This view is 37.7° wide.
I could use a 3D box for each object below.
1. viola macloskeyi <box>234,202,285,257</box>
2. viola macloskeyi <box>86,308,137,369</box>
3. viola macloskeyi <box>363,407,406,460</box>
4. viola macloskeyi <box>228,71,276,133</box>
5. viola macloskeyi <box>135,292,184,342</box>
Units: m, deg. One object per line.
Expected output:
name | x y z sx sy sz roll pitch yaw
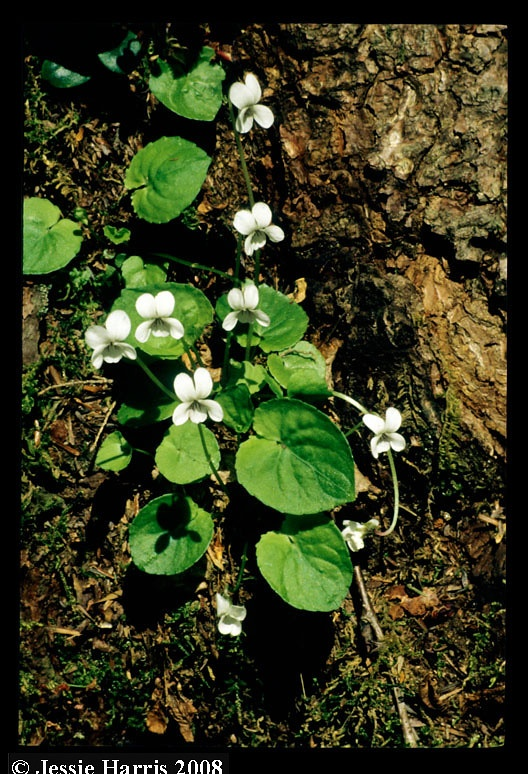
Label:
viola macloskeyi | -0.020 -0.510 2.534 0.189 0.070 0.179 -19 -51 8
viola macloskeyi | -0.469 -0.147 2.363 0.121 0.170 0.122 3 4 10
viola macloskeyi | 0.404 0.148 2.521 0.103 0.162 0.183 4 5 31
viola macloskeyi | -0.049 -0.888 2.442 0.064 0.187 0.181 -29 -12 -9
viola macloskeyi | -0.317 -0.216 2.401 0.130 0.152 0.164 2 4 7
